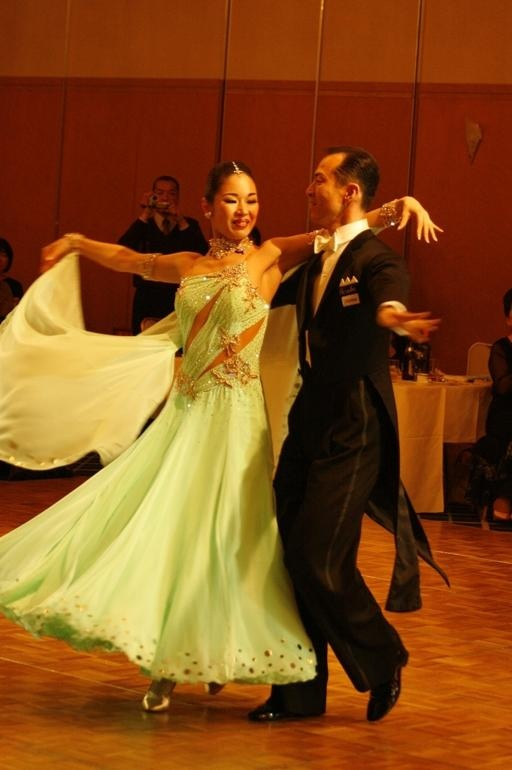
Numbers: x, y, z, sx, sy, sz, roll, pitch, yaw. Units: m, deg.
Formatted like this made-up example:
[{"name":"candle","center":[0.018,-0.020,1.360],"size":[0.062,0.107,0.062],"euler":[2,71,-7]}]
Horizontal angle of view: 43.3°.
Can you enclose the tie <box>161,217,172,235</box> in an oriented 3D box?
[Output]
[{"name":"tie","center":[-0.850,-1.519,6.119],"size":[0.175,0.167,0.024],"euler":[2,-7,-7]}]

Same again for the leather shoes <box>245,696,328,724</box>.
[{"name":"leather shoes","center":[0.072,0.785,1.543],"size":[0.184,0.070,0.061],"euler":[-7,-7,-6]}]

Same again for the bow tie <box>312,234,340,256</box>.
[{"name":"bow tie","center":[0.183,-0.362,1.647],"size":[0.061,0.061,0.024],"euler":[-2,-28,22]}]

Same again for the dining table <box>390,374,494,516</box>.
[{"name":"dining table","center":[1.401,0.446,5.326],"size":[1.151,1.078,1.121],"euler":[0,4,5]}]
